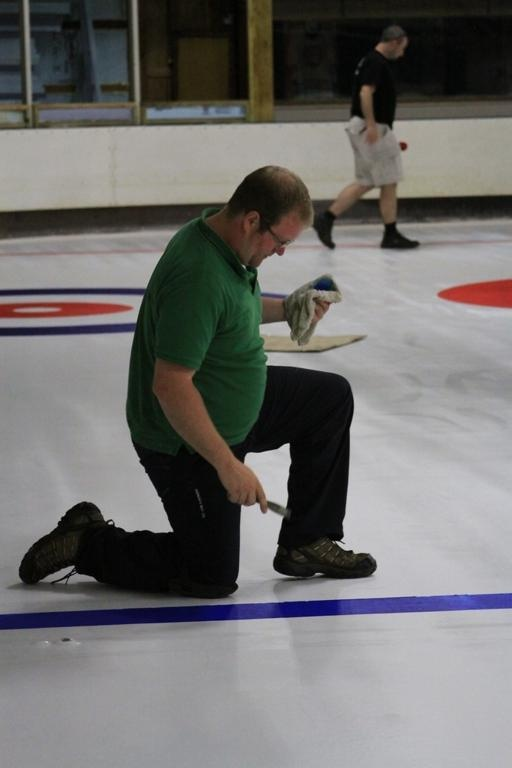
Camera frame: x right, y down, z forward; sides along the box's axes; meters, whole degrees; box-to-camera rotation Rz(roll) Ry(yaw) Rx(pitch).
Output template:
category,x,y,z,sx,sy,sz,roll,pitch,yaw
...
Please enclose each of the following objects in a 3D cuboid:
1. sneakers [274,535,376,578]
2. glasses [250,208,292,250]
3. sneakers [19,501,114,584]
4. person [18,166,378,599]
category,x,y,z,sx,sy,sz,roll,pitch,yaw
sneakers,0.149,0.386,1.813,0.259,0.104,0.083,-1,-5,-2
glasses,0.036,-0.291,1.546,0.049,0.064,0.026,-32,14,-2
sneakers,-0.413,0.355,1.769,0.182,0.060,0.083,-38,48,-14
person,-0.056,0.000,1.717,0.536,0.875,0.694,10,15,41
